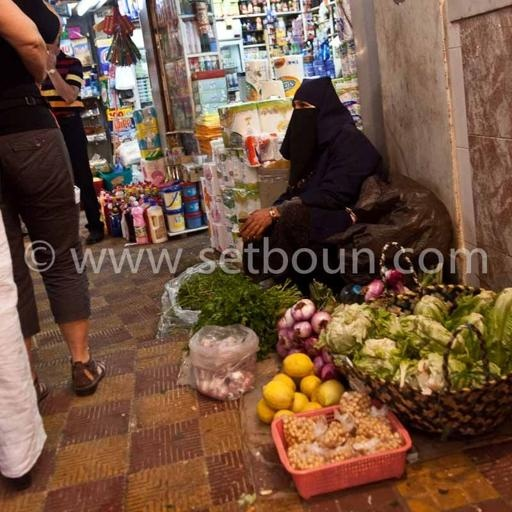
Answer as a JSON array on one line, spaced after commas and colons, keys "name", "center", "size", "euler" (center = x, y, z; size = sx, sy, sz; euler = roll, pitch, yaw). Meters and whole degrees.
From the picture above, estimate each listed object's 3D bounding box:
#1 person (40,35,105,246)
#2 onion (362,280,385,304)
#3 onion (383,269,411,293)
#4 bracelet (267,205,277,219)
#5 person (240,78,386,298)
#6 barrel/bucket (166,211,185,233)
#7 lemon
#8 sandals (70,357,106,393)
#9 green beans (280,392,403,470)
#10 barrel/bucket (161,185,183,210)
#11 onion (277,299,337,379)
[{"name": "person", "center": [-2.129, -1.296, 4.538], "size": [0.637, 2.042, 0.589], "euler": [19, 30, 35]}, {"name": "onion", "center": [0.548, 0.159, 1.890], "size": [0.107, 0.059, 0.089], "euler": [-43, -21, -10]}, {"name": "onion", "center": [0.666, 0.117, 1.920], "size": [0.114, 0.133, 0.063], "euler": [-4, -26, -7]}, {"name": "bracelet", "center": [0.099, -0.283, 2.558], "size": [0.054, 0.064, 0.027], "euler": [-9, -16, 31]}, {"name": "person", "center": [0.411, -0.431, 2.823], "size": [1.004, 1.430, 1.026], "euler": [-10, 23, -19]}, {"name": "barrel/bucket", "center": [-0.942, -0.401, 4.765], "size": [0.250, 0.231, 0.235], "euler": [-4, 9, 1]}, {"name": "lemon", "center": [0.176, 0.543, 1.639], "size": [0.276, 0.103, 0.266], "euler": [-19, 2, 12]}, {"name": "sandals", "center": [-0.827, 0.585, 2.051], "size": [0.107, 0.140, 0.235], "euler": [1, 14, 3]}, {"name": "green beans", "center": [0.270, 0.575, 1.315], "size": [0.368, 0.136, 0.259], "euler": [-9, 18, -8]}, {"name": "barrel/bucket", "center": [-0.972, -0.679, 4.710], "size": [0.277, 0.260, 0.277], "euler": [-4, 8, 1]}, {"name": "onion", "center": [0.240, 0.383, 1.900], "size": [0.258, 0.320, 0.231], "euler": [-6, 22, -15]}]
